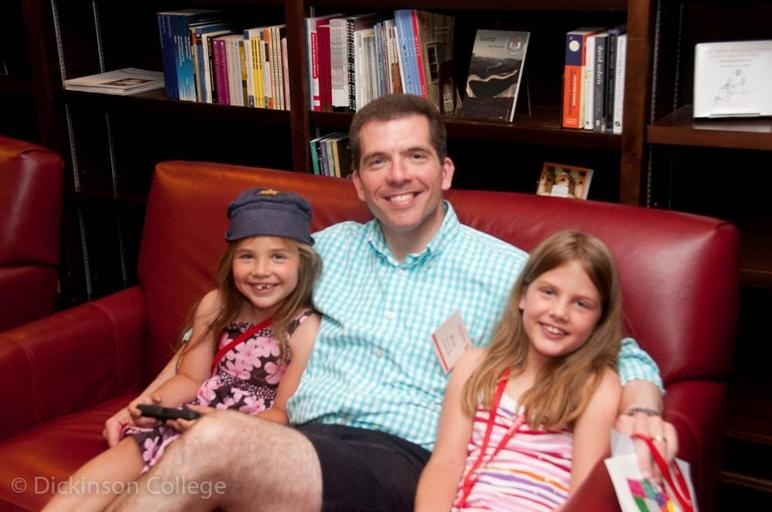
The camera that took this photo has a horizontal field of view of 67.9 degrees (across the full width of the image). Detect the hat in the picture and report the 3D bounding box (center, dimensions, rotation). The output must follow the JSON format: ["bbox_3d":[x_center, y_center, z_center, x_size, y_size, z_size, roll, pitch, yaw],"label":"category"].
[{"bbox_3d":[-0.423,-0.124,2.039,0.326,0.186,0.343,-3,-9,-1],"label":"hat"}]

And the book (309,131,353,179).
[{"bbox_3d":[-0.241,-0.433,2.498,0.138,0.227,0.239,4,15,31],"label":"book"}]
